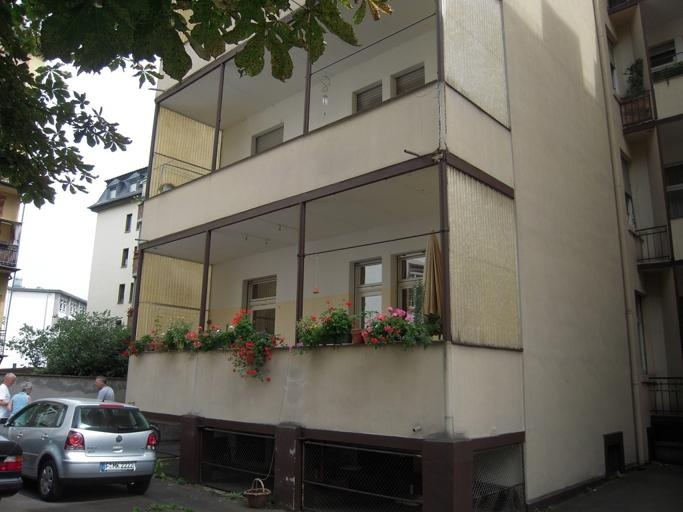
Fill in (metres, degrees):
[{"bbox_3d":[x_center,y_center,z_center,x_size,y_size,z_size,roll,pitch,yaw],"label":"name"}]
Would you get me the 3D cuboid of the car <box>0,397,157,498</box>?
[{"bbox_3d":[-4.855,3.486,9.501,2.558,1.680,1.244,-4,-15,22],"label":"car"}]
